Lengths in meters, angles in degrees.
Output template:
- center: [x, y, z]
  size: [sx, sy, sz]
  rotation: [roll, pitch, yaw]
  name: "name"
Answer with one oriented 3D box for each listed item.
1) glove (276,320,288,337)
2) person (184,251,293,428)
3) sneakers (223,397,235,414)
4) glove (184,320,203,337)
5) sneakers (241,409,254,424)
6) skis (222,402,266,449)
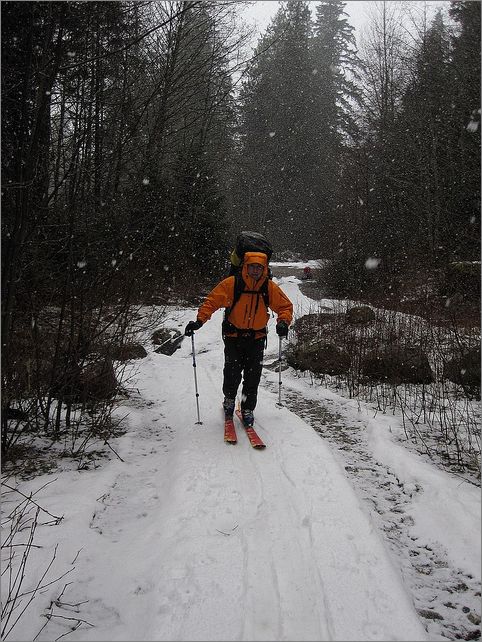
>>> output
- center: [0.451, 0.069, 5.592]
  size: [0.106, 0.176, 0.158]
  rotation: [0, 26, 6]
  name: "glove"
- center: [0.018, 0.191, 5.513]
  size: [1.066, 1.868, 0.578]
  rotation: [3, 8, -2]
  name: "person"
- center: [-0.126, 0.910, 5.533]
  size: [0.085, 0.164, 0.149]
  rotation: [7, -3, -13]
  name: "sneakers"
- center: [-0.489, 0.079, 5.466]
  size: [0.135, 0.192, 0.092]
  rotation: [13, -37, 41]
  name: "glove"
- center: [0.070, 1.012, 5.466]
  size: [0.122, 0.186, 0.399]
  rotation: [2, -6, -6]
  name: "sneakers"
- center: [0.022, 1.105, 5.387]
  size: [0.202, 0.085, 0.931]
  rotation: [1, 8, -7]
  name: "skis"
